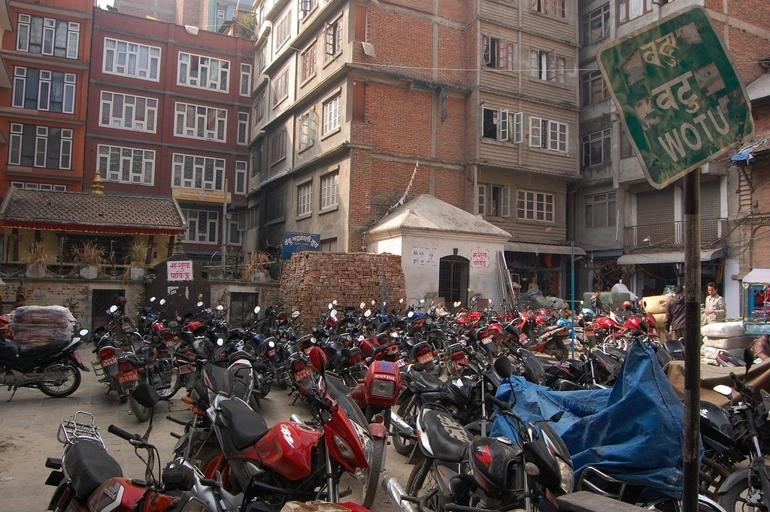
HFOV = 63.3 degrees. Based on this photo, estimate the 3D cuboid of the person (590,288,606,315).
[{"bbox_3d":[7.177,1.572,20.982,0.352,1.111,0.454,-4,6,-7],"label":"person"}]
